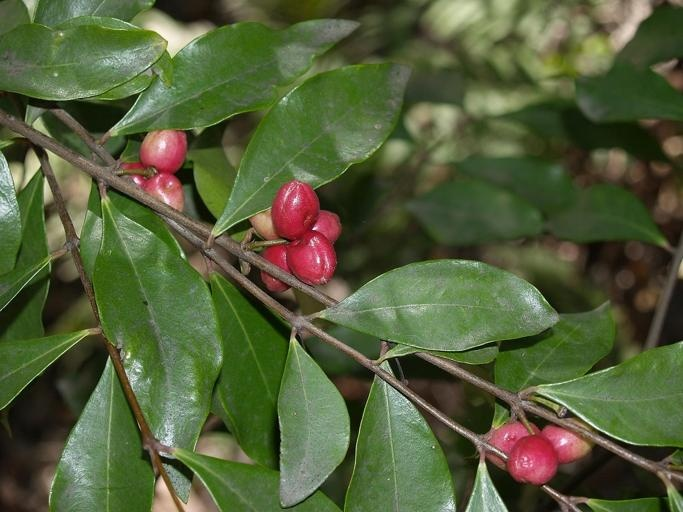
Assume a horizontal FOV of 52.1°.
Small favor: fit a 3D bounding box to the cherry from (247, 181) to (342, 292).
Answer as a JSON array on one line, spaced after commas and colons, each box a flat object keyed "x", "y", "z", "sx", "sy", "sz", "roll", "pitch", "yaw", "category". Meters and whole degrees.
[{"x": -0.073, "y": -0.043, "z": 1.060, "sx": 0.152, "sy": 0.158, "sz": 0.084, "roll": 1, "pitch": 14, "yaw": 8, "category": "cherry"}]

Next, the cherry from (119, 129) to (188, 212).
[{"x": -0.286, "y": -0.153, "z": 1.171, "sx": 0.125, "sy": 0.139, "sz": 0.140, "roll": 4, "pitch": 14, "yaw": 6, "category": "cherry"}]

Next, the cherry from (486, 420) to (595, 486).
[{"x": 0.280, "y": 0.272, "z": 1.070, "sx": 0.133, "sy": 0.111, "sz": 0.153, "roll": -1, "pitch": 7, "yaw": -17, "category": "cherry"}]
